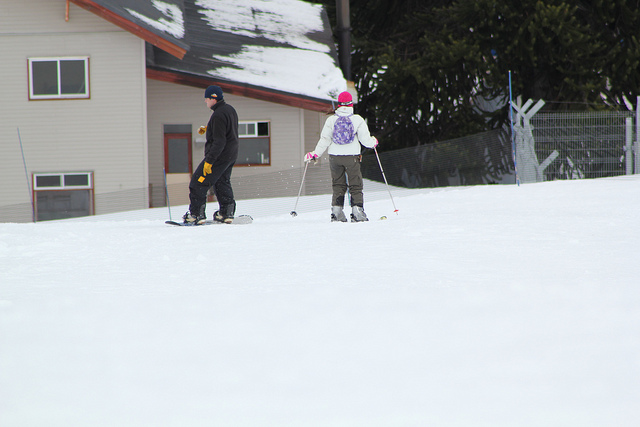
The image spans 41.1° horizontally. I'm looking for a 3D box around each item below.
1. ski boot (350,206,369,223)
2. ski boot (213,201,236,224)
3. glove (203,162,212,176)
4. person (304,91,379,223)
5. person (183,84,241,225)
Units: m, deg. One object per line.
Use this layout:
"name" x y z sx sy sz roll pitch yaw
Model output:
"ski boot" 0.679 0.020 14.325 0.267 0.287 0.214 5 -1 0
"ski boot" -1.554 -0.035 14.474 0.404 0.441 0.260 12 9 4
"glove" -1.821 -0.727 13.784 0.130 0.186 0.057 3 1 6
"person" 0.391 -0.929 14.633 1.074 2.206 1.136 0 12 -1
"person" -1.725 -0.922 14.021 0.451 2.273 0.985 11 16 43
